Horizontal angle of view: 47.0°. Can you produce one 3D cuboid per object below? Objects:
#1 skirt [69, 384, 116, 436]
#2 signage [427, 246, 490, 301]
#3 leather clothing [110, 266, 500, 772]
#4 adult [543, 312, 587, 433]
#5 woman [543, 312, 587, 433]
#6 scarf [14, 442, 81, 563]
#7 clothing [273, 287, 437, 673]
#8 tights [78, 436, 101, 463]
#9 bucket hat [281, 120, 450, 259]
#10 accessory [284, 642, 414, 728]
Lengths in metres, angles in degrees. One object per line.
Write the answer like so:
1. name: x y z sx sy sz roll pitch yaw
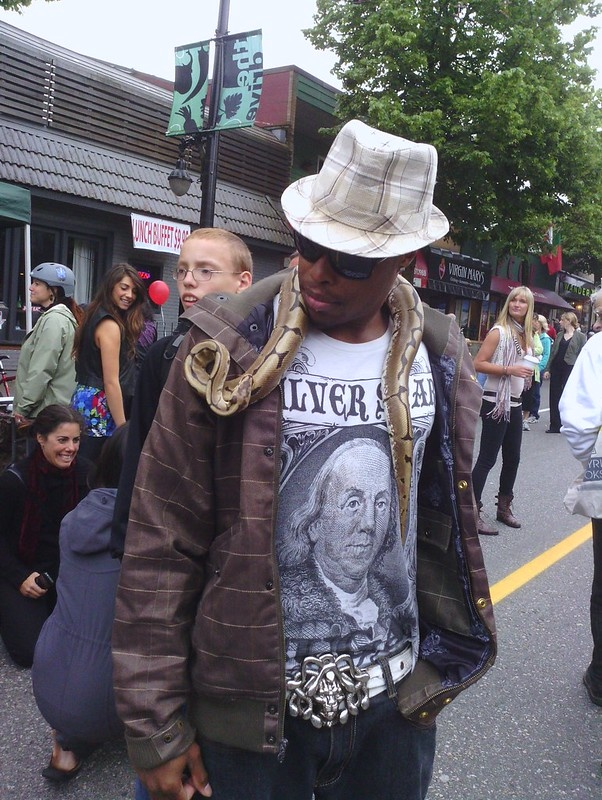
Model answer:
1. skirt: -1.463 0.038 4.795 0.271 0.375 0.207 11 25 -1
2. signage: 5.598 -4.718 25.780 3.248 1.716 1.041 5 2 -33
3. leather clothing: 0.010 0.217 1.485 0.849 0.956 0.390 -2 8 -30
4. adult: 4.894 -0.530 13.039 0.668 2.322 0.663 9 -1 28
5. woman: 4.939 -0.523 13.052 0.626 2.321 0.684 5 1 -33
6. scarf: -1.410 0.556 3.819 0.150 0.558 0.403 6 5 39
7. clothing: 0.090 0.184 1.417 0.357 0.654 0.128 5 -4 -33
8. tights: -1.392 0.321 4.513 0.147 0.213 0.116 7 -11 -7
9. bucket hat: 0.163 -0.485 1.518 0.367 0.199 0.473 19 33 9
10. accessory: 0.085 0.577 1.405 0.195 0.121 0.280 -7 4 10
